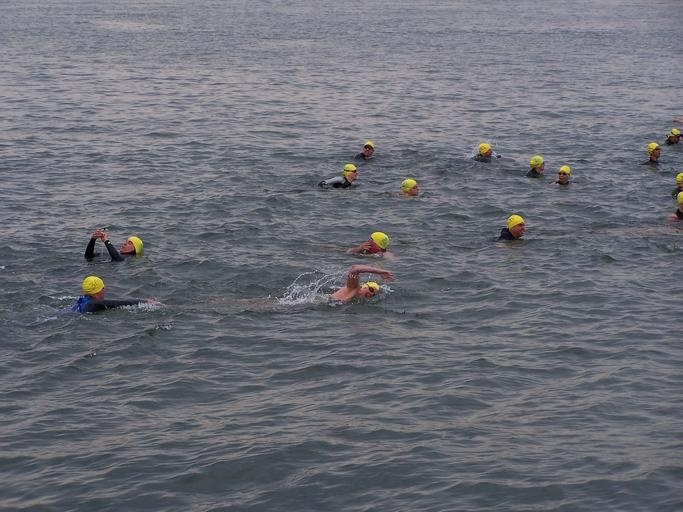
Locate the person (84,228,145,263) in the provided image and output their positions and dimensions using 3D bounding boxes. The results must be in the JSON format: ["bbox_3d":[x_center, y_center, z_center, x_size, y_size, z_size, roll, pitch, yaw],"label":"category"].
[{"bbox_3d":[-7.964,-0.340,42.742,2.017,0.747,1.385,1,2,-38],"label":"person"}]

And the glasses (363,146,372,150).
[{"bbox_3d":[1.152,-4.871,53.918,0.292,0.204,0.096,3,-5,-2],"label":"glasses"}]

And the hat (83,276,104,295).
[{"bbox_3d":[-8.166,0.920,39.597,0.932,0.514,0.601,2,30,-7],"label":"hat"}]

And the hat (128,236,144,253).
[{"bbox_3d":[-7.185,-0.434,43.096,0.901,0.515,0.521,-8,-8,-13],"label":"hat"}]

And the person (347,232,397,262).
[{"bbox_3d":[1.146,-0.381,43.473,1.747,0.549,1.017,13,16,-28],"label":"person"}]

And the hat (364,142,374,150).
[{"bbox_3d":[1.116,-4.983,54.151,0.490,0.310,0.488,9,25,12],"label":"hat"}]

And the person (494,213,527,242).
[{"bbox_3d":[6.523,-1.058,45.317,1.478,0.810,1.522,3,12,21],"label":"person"}]

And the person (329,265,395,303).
[{"bbox_3d":[0.608,0.813,40.478,1.855,1.444,0.805,5,31,-1],"label":"person"}]

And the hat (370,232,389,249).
[{"bbox_3d":[1.373,-0.633,43.497,0.871,0.387,0.628,22,10,-3],"label":"hat"}]
